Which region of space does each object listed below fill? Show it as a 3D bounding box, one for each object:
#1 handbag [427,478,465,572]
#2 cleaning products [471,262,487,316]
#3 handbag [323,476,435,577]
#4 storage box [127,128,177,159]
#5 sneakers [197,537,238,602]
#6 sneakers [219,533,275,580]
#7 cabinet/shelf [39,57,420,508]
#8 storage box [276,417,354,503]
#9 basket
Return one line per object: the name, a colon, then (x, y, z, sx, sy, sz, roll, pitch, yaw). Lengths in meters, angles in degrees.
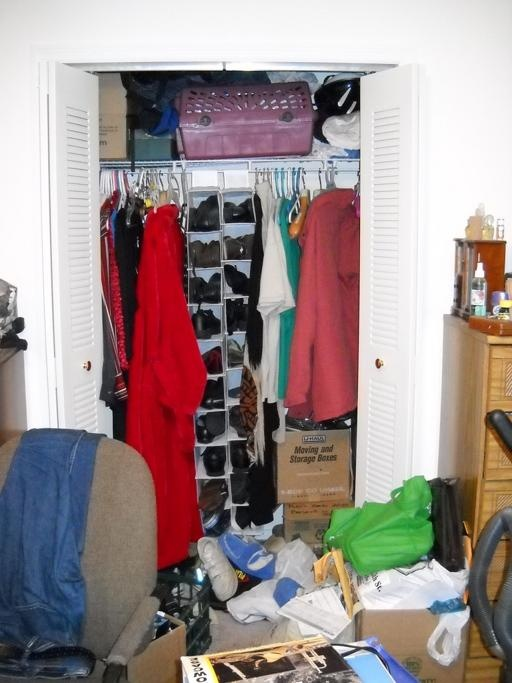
handbag: (0.593, 0.581, 1.807, 0.092, 0.264, 0.217, -2, -6, 3)
cleaning products: (0.725, -0.174, 1.890, 0.051, 0.173, 0.179, -1, 8, 21)
handbag: (0.400, 0.597, 1.884, 0.294, 0.233, 0.311, -7, -5, -4)
storage box: (-0.476, -0.903, 2.712, 0.202, 0.125, 0.142, -2, 0, -7)
sneakers: (-0.157, 0.927, 2.435, 0.134, 0.271, 0.080, -19, -9, 6)
sneakers: (-0.031, 0.935, 2.534, 0.132, 0.086, 0.224, 1, 22, -39)
cabinet/shelf: (-0.085, -0.198, 3.707, 1.683, 3.473, 1.782, 1, 5, 5)
storage box: (0.282, 0.570, 2.866, 0.325, 0.357, 0.340, 1, -2, 1)
basket: (-0.265, 0.904, 2.083, 0.148, 0.086, 0.151, -17, -23, -33)
